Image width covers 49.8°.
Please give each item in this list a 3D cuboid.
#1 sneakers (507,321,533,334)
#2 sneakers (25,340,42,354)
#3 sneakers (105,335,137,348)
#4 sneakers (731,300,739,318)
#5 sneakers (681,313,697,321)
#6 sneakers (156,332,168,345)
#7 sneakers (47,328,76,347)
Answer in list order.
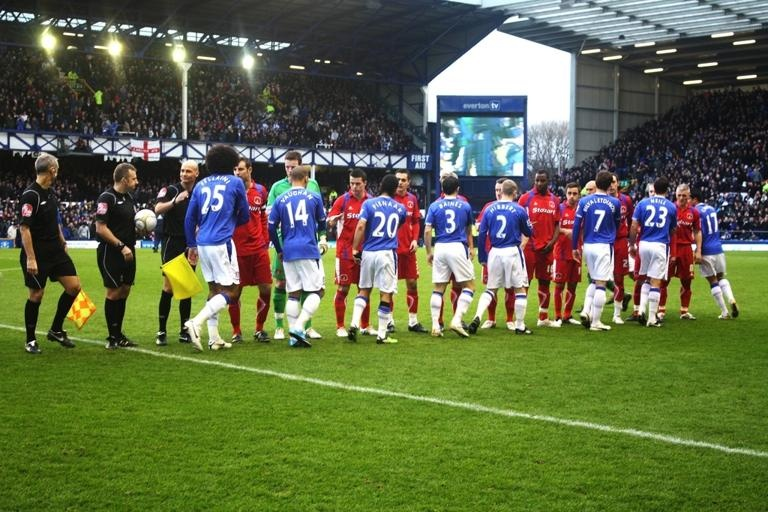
[{"bbox_3d":[2.244,1.198,13.577,0.371,0.165,0.150,1,5,1],"label":"sneakers"},{"bbox_3d":[-5.083,1.313,11.969,0.190,0.180,0.255,0,4,-25],"label":"sneakers"},{"bbox_3d":[-3.905,1.273,12.432,0.531,0.255,0.187,1,4,-17],"label":"sneakers"},{"bbox_3d":[6.319,1.018,14.838,0.135,0.390,0.166,-8,30,25],"label":"sneakers"},{"bbox_3d":[5.536,1.110,14.954,0.267,0.132,0.130,0,1,-39],"label":"sneakers"},{"bbox_3d":[-3.421,1.250,12.698,0.169,0.206,0.377,1,4,-16],"label":"sneakers"},{"bbox_3d":[-4.819,1.232,12.378,0.432,0.259,0.190,2,3,5],"label":"sneakers"}]
